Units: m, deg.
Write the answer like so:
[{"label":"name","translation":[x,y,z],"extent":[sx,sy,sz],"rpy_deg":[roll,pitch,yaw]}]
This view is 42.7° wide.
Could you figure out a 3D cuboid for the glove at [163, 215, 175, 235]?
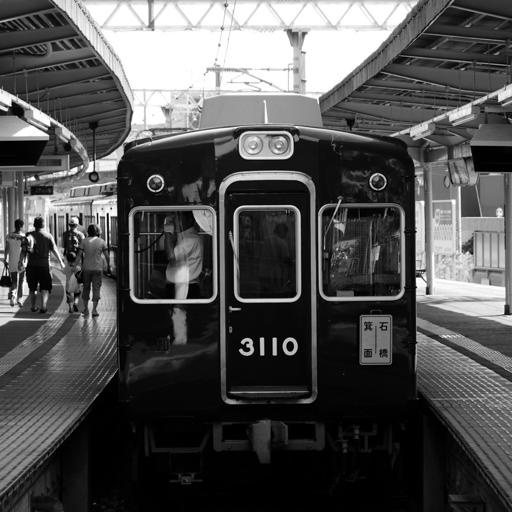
[{"label":"glove","translation":[-0.662,-0.240,5.020],"extent":[0.086,0.224,0.101],"rpy_deg":[1,6,-2]}]

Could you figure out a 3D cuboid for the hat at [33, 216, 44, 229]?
[{"label":"hat","translation":[-4.289,-0.683,12.866],"extent":[0.156,0.311,0.249],"rpy_deg":[2,-8,-6]}]

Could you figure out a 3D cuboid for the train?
[{"label":"train","translation":[0.079,0.451,5.473],"extent":[2.389,3.311,1.416],"rpy_deg":[-3,6,-10]}]

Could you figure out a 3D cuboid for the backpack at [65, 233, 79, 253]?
[{"label":"backpack","translation":[-3.858,-0.264,13.808],"extent":[0.267,0.605,0.274],"rpy_deg":[0,5,2]}]
